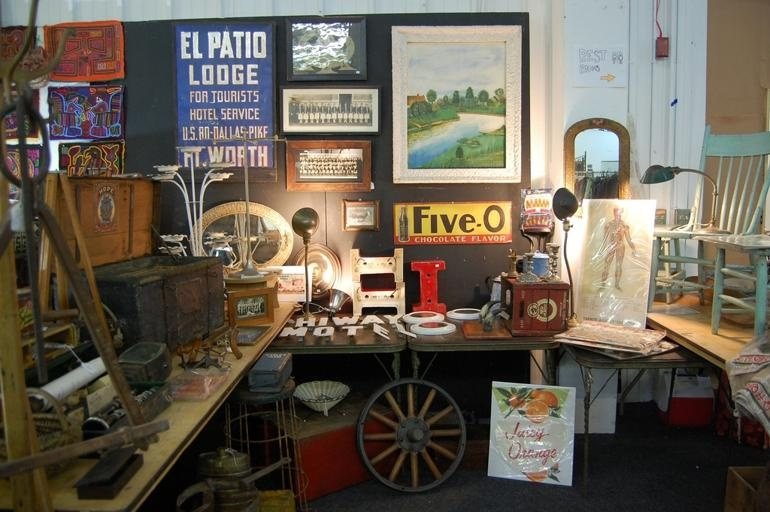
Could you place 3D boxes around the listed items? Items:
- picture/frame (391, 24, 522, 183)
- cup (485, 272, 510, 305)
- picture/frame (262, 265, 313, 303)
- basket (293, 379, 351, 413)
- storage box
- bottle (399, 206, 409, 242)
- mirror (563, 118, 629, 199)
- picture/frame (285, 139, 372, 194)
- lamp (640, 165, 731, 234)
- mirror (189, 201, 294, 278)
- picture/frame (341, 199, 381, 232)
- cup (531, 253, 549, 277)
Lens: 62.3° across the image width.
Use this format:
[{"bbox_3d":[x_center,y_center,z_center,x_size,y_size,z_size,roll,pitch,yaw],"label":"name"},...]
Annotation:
[{"bbox_3d":[0.675,-1.544,6.137,1.489,1.723,0.136,-1,8,-4],"label":"picture/frame"},{"bbox_3d":[1.051,0.294,5.917,0.246,0.239,0.253,0,4,0],"label":"cup"},{"bbox_3d":[-0.937,0.249,6.119,0.579,0.415,0.311,1,4,0],"label":"picture/frame"},{"bbox_3d":[-0.557,1.284,5.581,0.431,0.168,0.434,-15,-13,20],"label":"basket"},{"bbox_3d":[-1.772,0.364,4.952,0.740,0.574,1.143,0,6,16],"label":"storage box"},{"bbox_3d":[0.184,-0.311,6.204,0.089,0.344,0.037,-1,9,-1],"label":"bottle"},{"bbox_3d":[2.105,-0.964,6.321,0.629,0.912,0.067,4,40,22],"label":"mirror"},{"bbox_3d":[-0.545,-0.883,6.163,0.826,0.501,0.031,-1,-5,-2],"label":"picture/frame"},{"bbox_3d":[2.802,-0.570,6.015,0.652,0.584,1.120,3,10,24],"label":"lamp"},{"bbox_3d":[-1.376,-0.163,5.932,0.729,0.566,0.048,1,1,-2],"label":"mirror"},{"bbox_3d":[-0.240,-0.407,6.183,0.305,0.275,0.044,0,1,-3],"label":"picture/frame"},{"bbox_3d":[1.362,0.081,5.680,0.184,0.199,0.186,0,0,0],"label":"cup"}]
